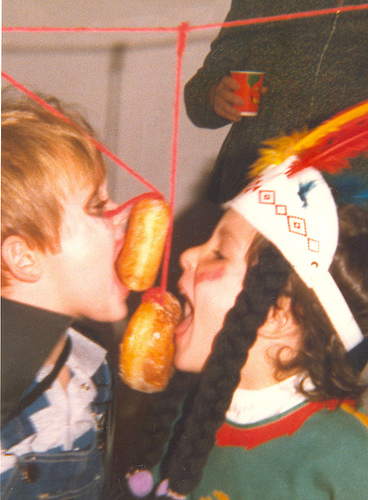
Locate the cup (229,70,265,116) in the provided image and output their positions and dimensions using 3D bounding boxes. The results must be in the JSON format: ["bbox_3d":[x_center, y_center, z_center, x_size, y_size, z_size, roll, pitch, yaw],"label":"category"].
[{"bbox_3d":[0.146,-0.388,1.327,0.110,0.102,0.100,2,103,10],"label":"cup"}]

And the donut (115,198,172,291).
[{"bbox_3d":[-0.117,-0.010,1.402,0.126,0.086,0.239,15,100,-21],"label":"donut"}]

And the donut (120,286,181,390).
[{"bbox_3d":[-0.100,0.227,1.459,0.159,0.096,0.272,21,93,-15],"label":"donut"}]
